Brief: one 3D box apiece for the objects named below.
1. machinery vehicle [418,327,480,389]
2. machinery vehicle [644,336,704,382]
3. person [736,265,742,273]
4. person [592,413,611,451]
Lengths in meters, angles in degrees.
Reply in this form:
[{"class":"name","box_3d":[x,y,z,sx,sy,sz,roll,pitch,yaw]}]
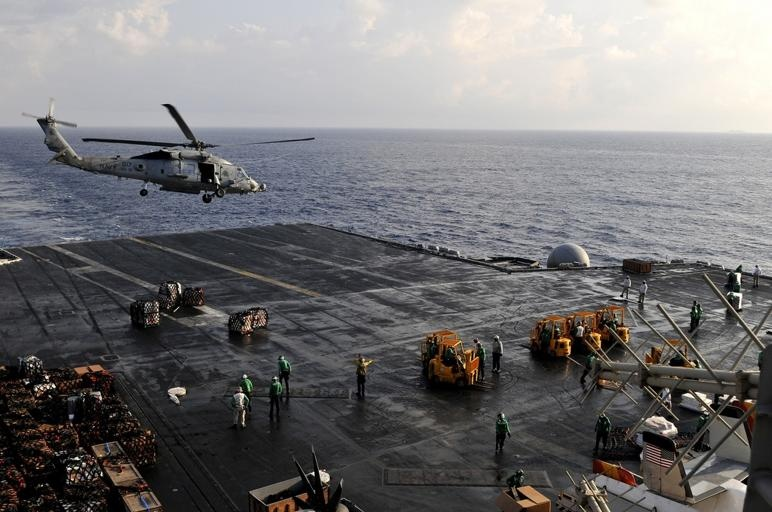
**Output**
[{"class":"machinery vehicle","box_3d":[4.209,6.359,35.436,3.968,2.141,2.341,8,11,30]},{"class":"machinery vehicle","box_3d":[17.670,6.184,34.517,3.524,1.337,1.753,-5,-2,23]},{"class":"person","box_3d":[37.558,1.412,60.301,0.836,0.379,0.281,-48,36,-20]},{"class":"person","box_3d":[10.751,8.627,27.935,0.676,2.222,1.241,6,19,21]}]
